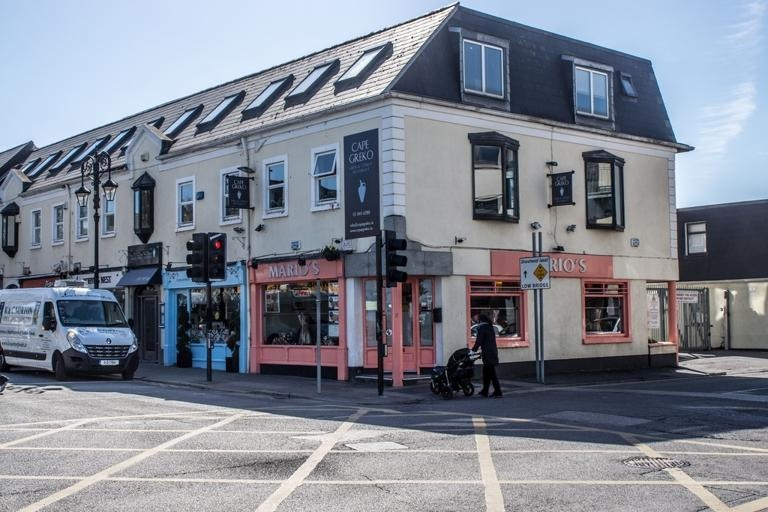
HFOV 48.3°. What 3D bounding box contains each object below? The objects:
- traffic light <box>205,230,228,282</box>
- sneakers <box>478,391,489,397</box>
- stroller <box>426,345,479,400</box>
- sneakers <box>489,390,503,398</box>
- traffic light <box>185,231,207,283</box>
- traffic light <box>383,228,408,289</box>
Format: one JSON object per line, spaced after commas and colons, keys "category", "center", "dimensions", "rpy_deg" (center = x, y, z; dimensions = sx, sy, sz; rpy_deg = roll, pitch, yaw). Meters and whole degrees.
{"category": "traffic light", "center": [-5.367, -0.013, 27.322], "dimensions": [0.554, 1.534, 0.439], "rpy_deg": [1, -7, -17]}
{"category": "sneakers", "center": [2.804, 3.938, 24.375], "dimensions": [0.113, 0.144, 0.313], "rpy_deg": [3, -10, -25]}
{"category": "stroller", "center": [1.908, 3.351, 24.609], "dimensions": [0.933, 1.376, 1.737], "rpy_deg": [6, -9, -37]}
{"category": "sneakers", "center": [3.121, 3.897, 24.231], "dimensions": [0.361, 0.269, 0.147], "rpy_deg": [3, 4, 35]}
{"category": "traffic light", "center": [-5.953, 0.043, 27.333], "dimensions": [0.628, 1.553, 0.747], "rpy_deg": [0, -7, -16]}
{"category": "traffic light", "center": [0.324, 0.088, 24.422], "dimensions": [0.602, 1.559, 0.484], "rpy_deg": [1, 7, 17]}
